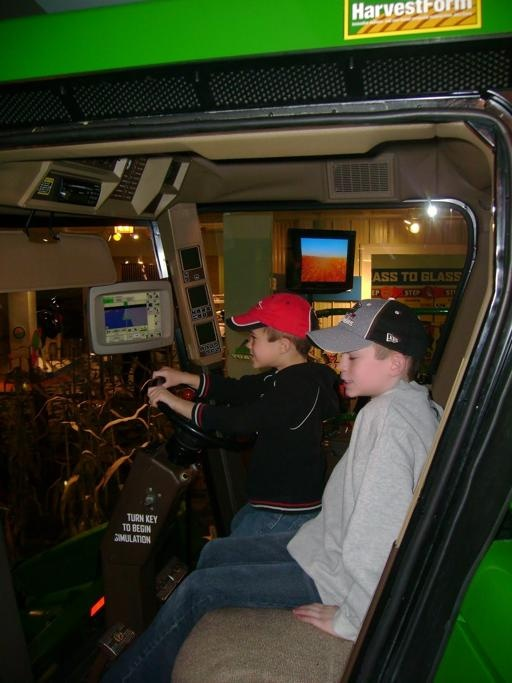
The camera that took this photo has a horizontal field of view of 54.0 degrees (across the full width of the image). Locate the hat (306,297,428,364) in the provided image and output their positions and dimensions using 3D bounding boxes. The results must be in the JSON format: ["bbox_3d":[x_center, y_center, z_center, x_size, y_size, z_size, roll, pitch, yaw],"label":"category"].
[{"bbox_3d":[0.318,-0.038,1.395,0.332,0.158,0.194,9,6,-5],"label":"hat"}]

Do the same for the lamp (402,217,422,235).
[{"bbox_3d":[2.227,-1.648,7.170,0.247,0.251,0.779,2,11,15],"label":"lamp"}]

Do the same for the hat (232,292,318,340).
[{"bbox_3d":[0.070,-0.106,2.005,0.350,0.167,0.233,10,3,5],"label":"hat"}]

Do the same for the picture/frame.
[{"bbox_3d":[2.060,-0.931,6.464,1.274,0.720,0.141,6,18,41],"label":"picture/frame"}]
